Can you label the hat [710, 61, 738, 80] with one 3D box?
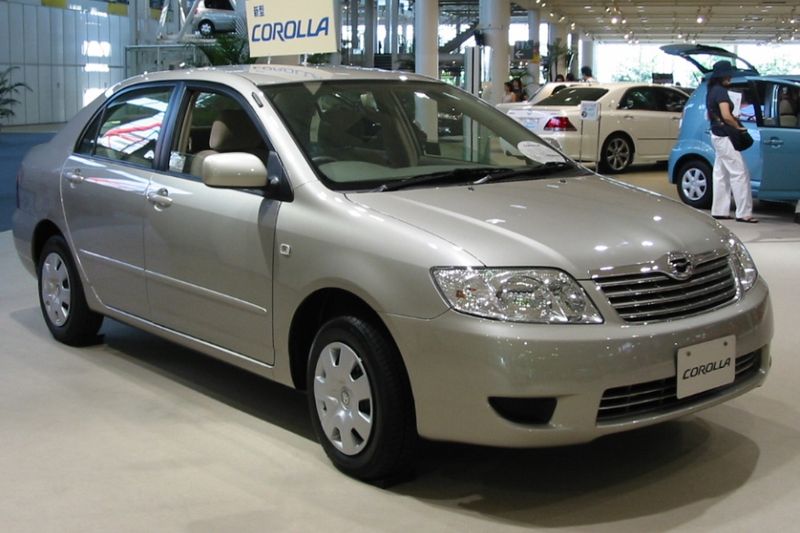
[{"bbox_3d":[5.173,-3.162,8.798,0.354,0.332,0.141,13,-21,49],"label":"hat"}]
